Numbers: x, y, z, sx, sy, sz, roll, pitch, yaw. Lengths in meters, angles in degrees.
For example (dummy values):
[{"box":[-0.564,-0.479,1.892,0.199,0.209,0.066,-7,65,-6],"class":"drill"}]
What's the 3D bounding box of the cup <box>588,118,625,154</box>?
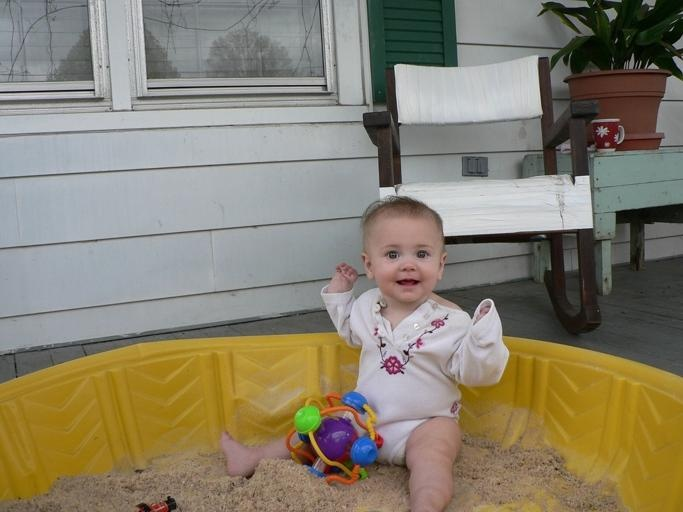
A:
[{"box":[1.145,-0.493,2.447,0.143,0.187,0.178,-3,-2,28],"class":"cup"}]
